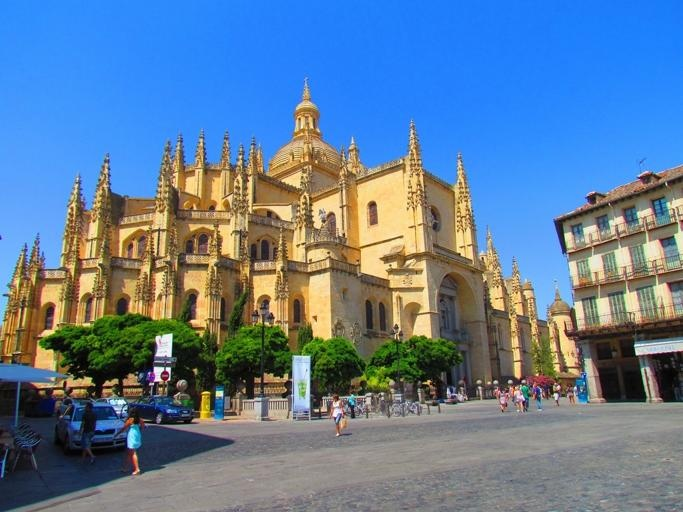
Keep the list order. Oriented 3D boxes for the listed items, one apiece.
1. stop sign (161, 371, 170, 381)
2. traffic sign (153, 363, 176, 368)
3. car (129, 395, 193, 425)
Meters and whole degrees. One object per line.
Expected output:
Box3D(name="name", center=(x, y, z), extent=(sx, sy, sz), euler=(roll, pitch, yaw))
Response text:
Box3D(name="stop sign", center=(-9.607, 6.523, 26.581), extent=(0.521, 0.593, 0.082), euler=(-3, -4, 27))
Box3D(name="traffic sign", center=(-9.863, 6.139, 27.315), extent=(1.159, 0.351, 0.657), euler=(-15, -22, 34))
Box3D(name="car", center=(-10.123, 8.757, 27.811), extent=(3.377, 1.561, 1.357), euler=(-17, -23, 37))
